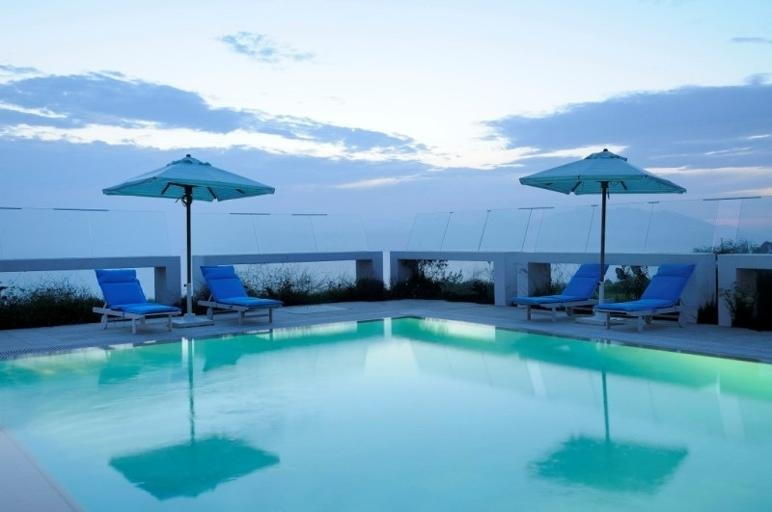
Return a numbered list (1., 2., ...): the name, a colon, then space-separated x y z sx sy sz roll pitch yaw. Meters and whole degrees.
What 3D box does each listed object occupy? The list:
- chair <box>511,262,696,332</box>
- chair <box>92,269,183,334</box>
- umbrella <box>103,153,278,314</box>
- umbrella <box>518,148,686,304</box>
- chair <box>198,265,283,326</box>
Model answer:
1. chair: 4.787 0.822 11.067 2.550 1.349 2.115 6 10 38
2. chair: -5.114 0.893 10.798 1.737 1.083 1.034 4 5 32
3. umbrella: -4.181 -0.482 11.247 3.396 3.105 3.370 -1 1 -32
4. umbrella: 4.579 -0.575 11.108 3.420 3.251 3.233 3 0 -1
5. chair: -3.254 0.808 11.613 1.813 1.101 0.984 3 4 37
